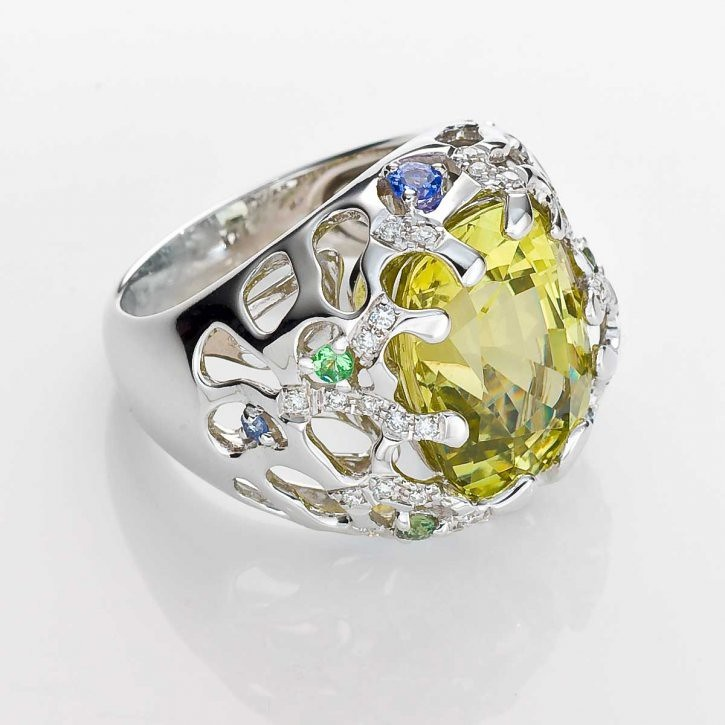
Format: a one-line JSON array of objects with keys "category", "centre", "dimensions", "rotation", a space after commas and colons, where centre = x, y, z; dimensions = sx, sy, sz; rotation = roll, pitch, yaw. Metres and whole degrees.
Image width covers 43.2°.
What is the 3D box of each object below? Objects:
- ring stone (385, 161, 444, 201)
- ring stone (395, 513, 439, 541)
[{"category": "ring stone", "centre": [0.085, -0.289, 1.453], "dimensions": [0.073, 0.021, 0.075], "rotation": [-35, 66, -23]}, {"category": "ring stone", "centre": [0.090, 0.269, 1.526], "dimensions": [0.062, 0.025, 0.049], "rotation": [9, 23, 36]}]
